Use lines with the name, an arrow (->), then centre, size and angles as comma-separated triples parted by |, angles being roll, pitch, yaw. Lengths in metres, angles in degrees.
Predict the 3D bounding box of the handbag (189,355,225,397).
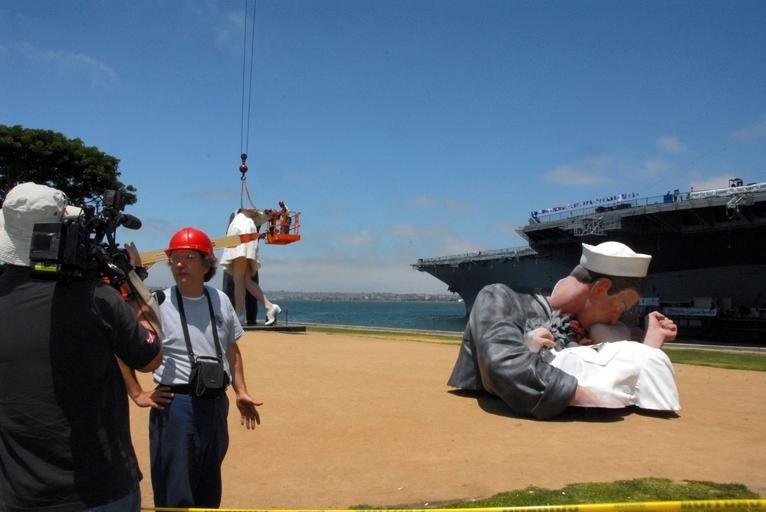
handbag -> -1.243, 0.856, 3.557 | 0.258, 0.239, 0.131 | 10, -23, -42
